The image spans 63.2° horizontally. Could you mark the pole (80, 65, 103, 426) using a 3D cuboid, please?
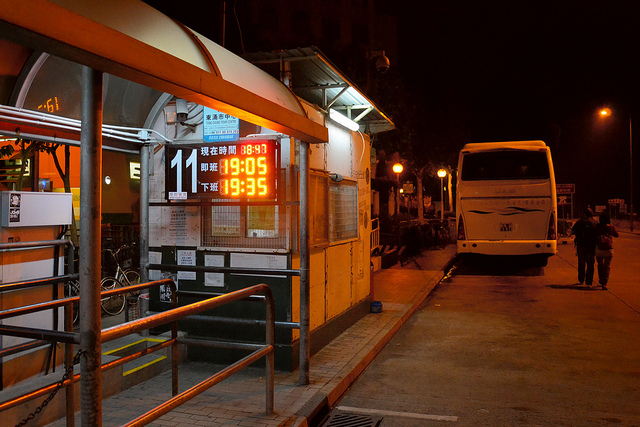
[{"bbox_3d":[-2.188,0.299,4.975,0.219,3.438,0.415,-1,3,-22],"label":"pole"}]

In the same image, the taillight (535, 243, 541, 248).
[{"bbox_3d":[7.029,1.063,16.781,0.169,0.123,0.036,2,3,22],"label":"taillight"}]

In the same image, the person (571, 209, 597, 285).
[{"bbox_3d":[7.769,1.011,15.346,0.671,2.253,0.721,2,4,28],"label":"person"}]

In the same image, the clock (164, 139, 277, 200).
[{"bbox_3d":[-1.602,-0.664,8.289,1.841,0.943,0.168,1,3,8],"label":"clock"}]

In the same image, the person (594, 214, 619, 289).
[{"bbox_3d":[8.250,1.102,15.039,0.557,2.142,0.836,2,4,30],"label":"person"}]

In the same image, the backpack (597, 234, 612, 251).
[{"bbox_3d":[8.060,0.838,14.727,0.338,0.503,0.269,7,-19,4],"label":"backpack"}]

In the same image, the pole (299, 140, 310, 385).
[{"bbox_3d":[-0.230,0.749,7.796,0.159,3.655,0.296,0,3,-2],"label":"pole"}]
